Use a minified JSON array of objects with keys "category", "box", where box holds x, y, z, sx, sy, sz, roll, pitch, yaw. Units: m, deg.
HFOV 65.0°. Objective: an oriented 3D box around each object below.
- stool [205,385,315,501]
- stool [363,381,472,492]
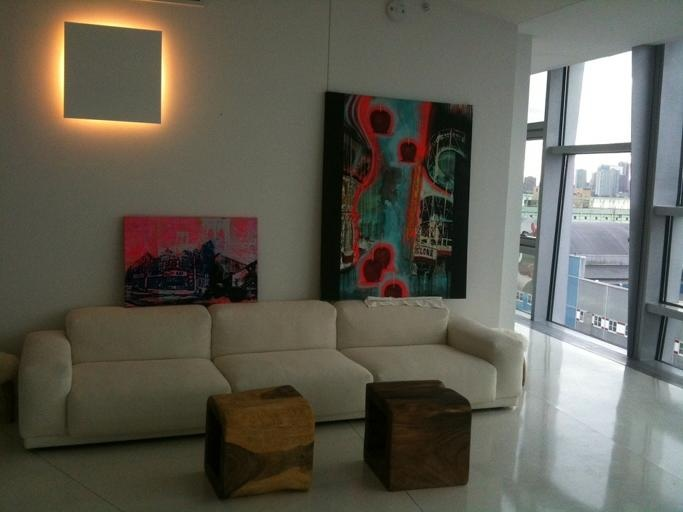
[{"category":"stool","box":[-0.588,1.211,3.850,0.757,0.734,0.581,0,4,-17]},{"category":"stool","box":[0.552,1.324,4.033,0.628,0.635,0.615,2,1,-16]}]
